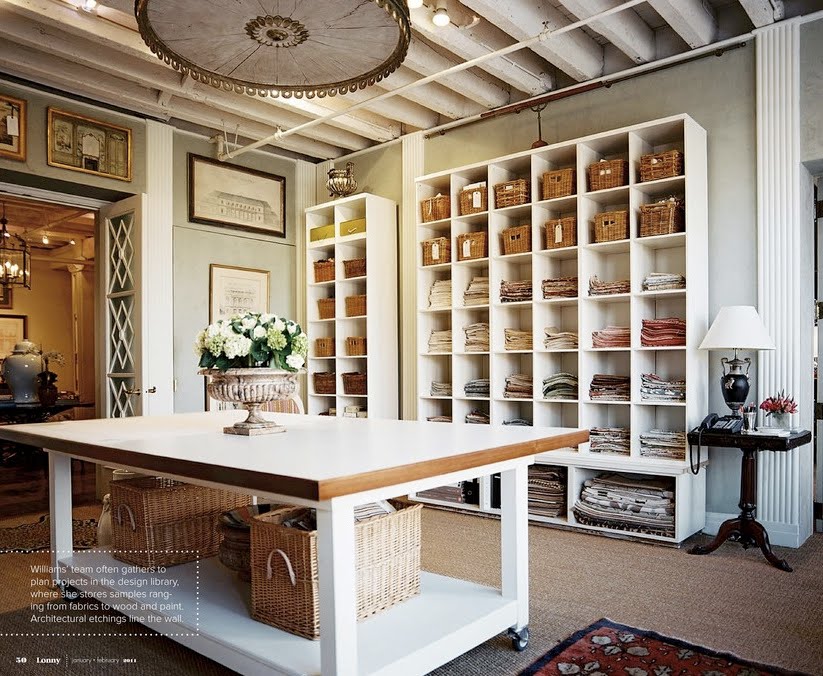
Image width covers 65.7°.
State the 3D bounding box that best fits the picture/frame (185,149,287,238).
[{"bbox_3d":[-1.769,-1.439,6.691,1.203,0.660,0.039,16,24,23],"label":"picture/frame"}]

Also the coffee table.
[{"bbox_3d":[2.281,1.058,4.467,0.886,1.093,0.878,-4,-8,39],"label":"coffee table"}]

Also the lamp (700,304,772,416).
[{"bbox_3d":[2.195,0.153,4.334,0.428,0.770,0.535,-1,1,25],"label":"lamp"}]

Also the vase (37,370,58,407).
[{"bbox_3d":[-3.475,0.483,6.194,0.155,0.316,0.365,-1,0,-29],"label":"vase"}]

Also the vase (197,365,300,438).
[{"bbox_3d":[-0.862,0.322,3.370,0.398,0.228,0.395,1,0,41],"label":"vase"}]

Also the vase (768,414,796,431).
[{"bbox_3d":[2.411,0.559,4.197,0.138,0.086,0.074,2,6,28],"label":"vase"}]

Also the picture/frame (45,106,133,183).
[{"bbox_3d":[-2.807,-1.696,5.578,0.061,0.563,0.847,-1,-1,40],"label":"picture/frame"}]

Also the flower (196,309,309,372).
[{"bbox_3d":[-0.788,0.039,3.348,0.403,0.214,0.394,-1,-2,39],"label":"flower"}]

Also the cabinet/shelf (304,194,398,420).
[{"bbox_3d":[-0.590,-0.293,6.578,1.003,1.481,0.516,-1,1,42],"label":"cabinet/shelf"}]

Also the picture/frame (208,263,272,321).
[{"bbox_3d":[-1.716,-0.466,6.368,0.037,0.750,0.803,5,5,42],"label":"picture/frame"}]

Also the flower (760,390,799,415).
[{"bbox_3d":[2.424,0.439,4.251,0.214,0.166,0.207,2,-4,-28],"label":"flower"}]
